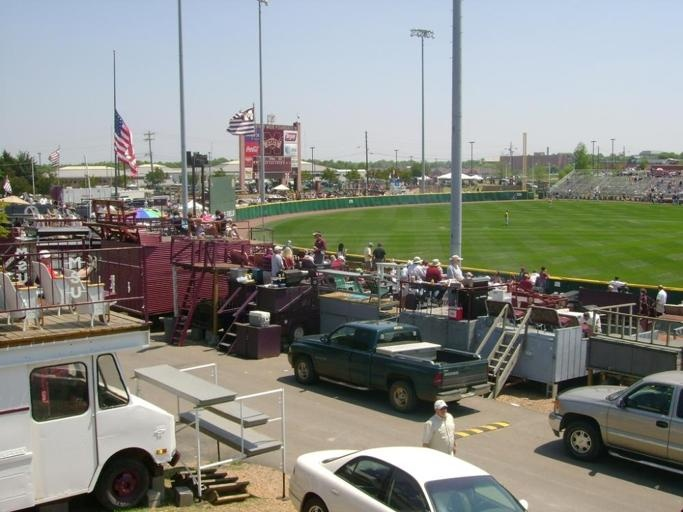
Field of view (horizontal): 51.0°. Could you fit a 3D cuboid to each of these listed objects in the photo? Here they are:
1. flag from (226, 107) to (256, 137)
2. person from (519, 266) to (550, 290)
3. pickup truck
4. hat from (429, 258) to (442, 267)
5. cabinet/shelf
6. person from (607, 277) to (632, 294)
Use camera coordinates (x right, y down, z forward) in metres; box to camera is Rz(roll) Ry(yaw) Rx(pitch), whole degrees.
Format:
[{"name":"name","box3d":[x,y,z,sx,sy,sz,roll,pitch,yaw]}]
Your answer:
[{"name":"flag","box3d":[-6.896,-9.266,49.462,1.710,1.840,2.022,1,7,-10]},{"name":"person","box3d":[6.911,0.884,25.974,0.934,0.646,1.266,6,8,24]},{"name":"pickup truck","box3d":[1.122,2.555,17.171,4.266,1.442,1.954,9,9,40]},{"name":"hat","box3d":[3.066,0.294,23.331,0.324,0.139,0.375,7,16,31]},{"name":"cabinet/shelf","box3d":[-2.021,2.083,12.187,1.831,1.435,2.811,-7,11,-35]},{"name":"person","box3d":[9.741,1.082,25.388,0.851,0.685,1.165,3,1,43]}]
